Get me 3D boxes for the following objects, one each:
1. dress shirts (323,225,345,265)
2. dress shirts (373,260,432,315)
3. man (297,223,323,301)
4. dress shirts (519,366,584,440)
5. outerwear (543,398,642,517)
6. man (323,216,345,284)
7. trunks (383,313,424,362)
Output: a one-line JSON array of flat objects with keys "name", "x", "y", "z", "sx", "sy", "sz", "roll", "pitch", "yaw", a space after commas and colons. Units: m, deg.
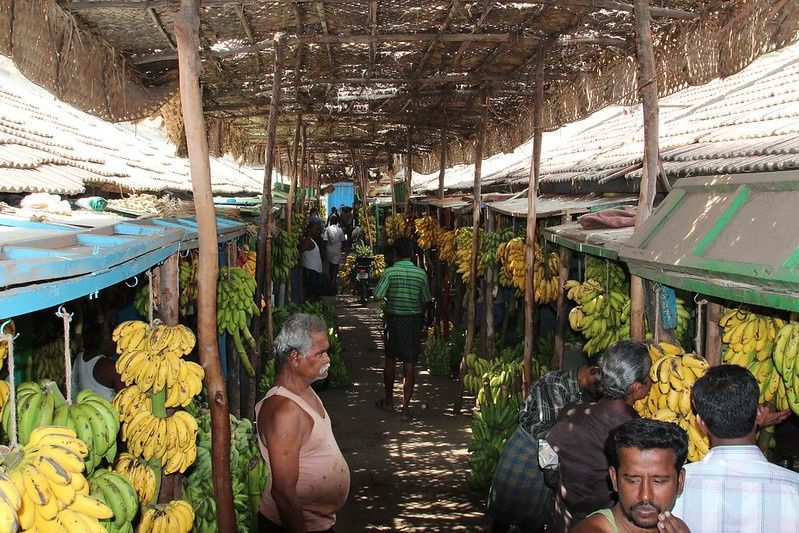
[{"name": "dress shirts", "x": -1.978, "y": -0.643, "z": 17.638, "sx": 0.683, "sy": 1.687, "sz": 0.583, "roll": -1, "pitch": 27, "yaw": -8}, {"name": "dress shirts", "x": 0.023, "y": 0.315, "z": 8.244, "sx": 0.796, "sy": 0.789, "sz": 0.478, "roll": 2, "pitch": 2, "yaw": -15}, {"name": "man", "x": -1.907, "y": -0.078, "z": 12.346, "sx": 0.554, "sy": 1.728, "sz": 0.598, "roll": -10, "pitch": 50, "yaw": -5}, {"name": "dress shirts", "x": 1.145, "y": 1.077, "z": 4.824, "sx": 0.316, "sy": 0.594, "sz": 0.461, "roll": 3, "pitch": -7, "yaw": 11}, {"name": "outerwear", "x": 1.338, "y": 1.316, "z": 4.174, "sx": 0.518, "sy": 0.791, "sz": 0.431, "roll": 3, "pitch": 8, "yaw": 22}, {"name": "man", "x": -2.011, "y": -0.550, "z": 17.727, "sx": 0.630, "sy": 2.142, "sz": 0.654, "roll": 0, "pitch": 26, "yaw": -8}, {"name": "trunks", "x": 0.022, "y": 0.931, "z": 8.182, "sx": 0.533, "sy": 0.779, "sz": 0.447, "roll": 2, "pitch": 13, "yaw": -3}]
